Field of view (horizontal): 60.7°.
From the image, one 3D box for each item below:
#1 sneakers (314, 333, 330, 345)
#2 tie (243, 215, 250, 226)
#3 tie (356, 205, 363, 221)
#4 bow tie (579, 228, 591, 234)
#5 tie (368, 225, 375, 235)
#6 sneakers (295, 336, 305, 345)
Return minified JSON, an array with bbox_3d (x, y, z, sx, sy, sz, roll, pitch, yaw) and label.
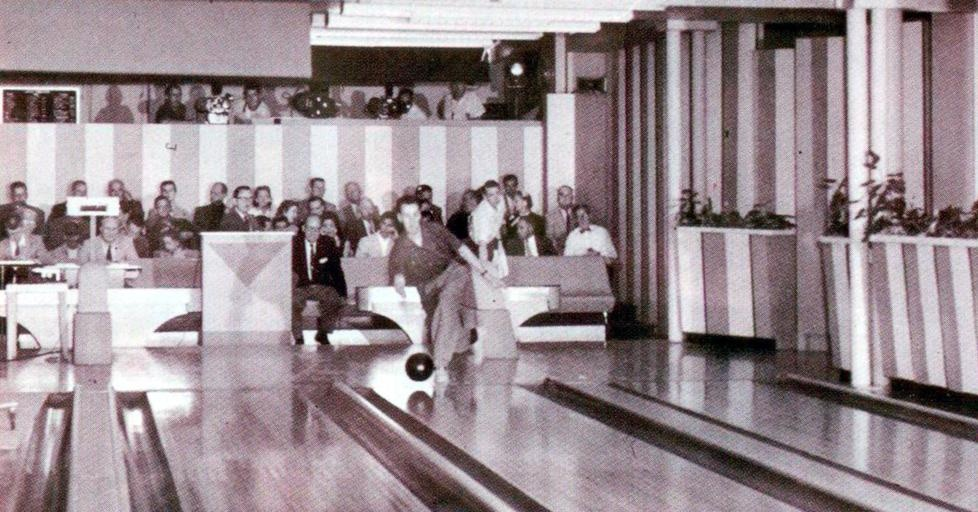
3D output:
[{"bbox_3d":[-2.511,1.237,12.682,0.225,0.158,0.214,-2,6,1],"label":"sneakers"},{"bbox_3d":[-3.912,-0.594,13.643,0.121,0.145,0.044,2,-20,-9],"label":"tie"},{"bbox_3d":[-2.104,-0.731,13.806,0.044,0.157,0.129,4,3,-31],"label":"tie"},{"bbox_3d":[1.646,-0.433,13.981,0.108,0.091,0.026,-6,-6,-4],"label":"bow tie"},{"bbox_3d":[-1.907,-0.432,13.755,0.120,0.111,0.037,-25,-20,-18],"label":"tie"},{"bbox_3d":[-2.850,1.260,12.703,0.130,0.115,0.219,-3,-5,-2],"label":"sneakers"}]
